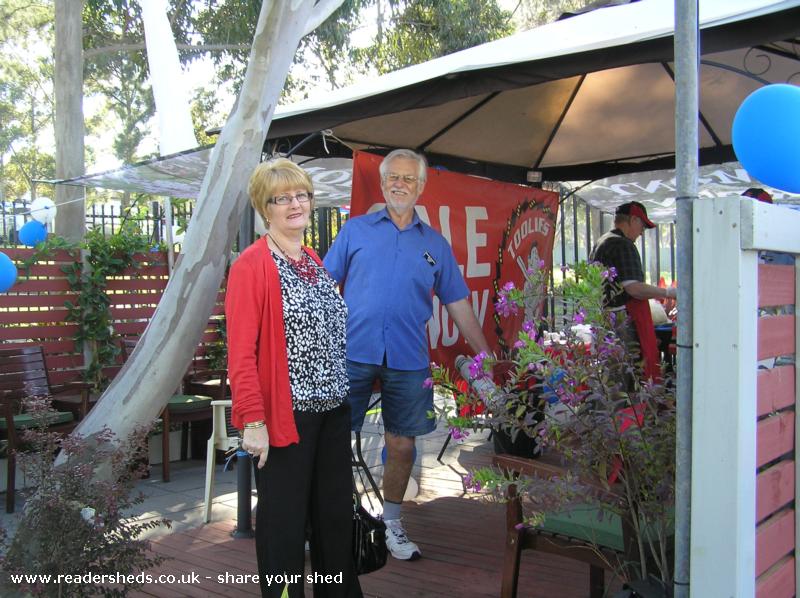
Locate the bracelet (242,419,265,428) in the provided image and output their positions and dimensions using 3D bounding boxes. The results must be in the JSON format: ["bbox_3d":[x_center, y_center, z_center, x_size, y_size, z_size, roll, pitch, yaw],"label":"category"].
[{"bbox_3d":[-0.626,0.530,2.696,0.081,0.030,0.028,-1,2,-5],"label":"bracelet"}]

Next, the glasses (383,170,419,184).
[{"bbox_3d":[0.016,-0.753,3.948,0.252,0.093,0.102,-1,2,-3],"label":"glasses"}]

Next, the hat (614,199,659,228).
[{"bbox_3d":[2.044,-0.751,5.494,0.306,0.209,0.205,10,10,-6],"label":"hat"}]

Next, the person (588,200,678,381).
[{"bbox_3d":[1.926,-0.117,5.249,0.624,1.448,0.715,0,3,24],"label":"person"}]

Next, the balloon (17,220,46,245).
[{"bbox_3d":[-4.593,-0.835,7.890,0.269,0.344,0.521,-3,3,-33],"label":"balloon"}]

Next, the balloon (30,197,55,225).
[{"bbox_3d":[-4.694,-1.168,8.274,0.272,0.416,1.029,-2,3,-31],"label":"balloon"}]

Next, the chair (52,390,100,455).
[{"bbox_3d":[-3.025,1.057,5.875,0.415,0.599,0.413,1,0,-15],"label":"chair"}]

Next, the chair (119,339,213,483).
[{"bbox_3d":[-2.331,1.104,6.511,0.742,1.298,1.104,-2,3,-32],"label":"chair"}]
